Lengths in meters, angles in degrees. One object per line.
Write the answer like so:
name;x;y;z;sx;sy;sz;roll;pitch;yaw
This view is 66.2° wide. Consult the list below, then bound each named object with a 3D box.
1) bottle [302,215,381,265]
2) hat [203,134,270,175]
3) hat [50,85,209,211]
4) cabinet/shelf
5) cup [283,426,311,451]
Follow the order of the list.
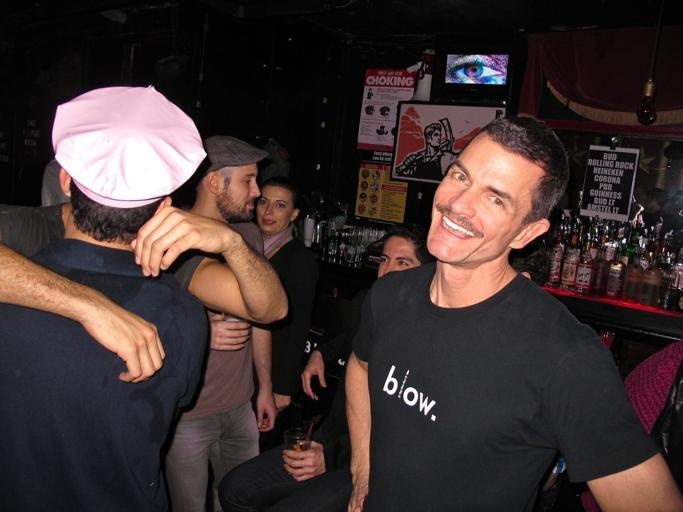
bottle;0.041;-0.130;5.334;0.484;0.197;0.662;-8;15;-32
hat;-0.622;-0.596;3.049;0.317;0.124;0.222;-9;17;-29
hat;-0.694;-0.359;1.731;0.468;0.378;0.262;0;18;-22
cabinet/shelf;-0.140;0.389;5.105;0.378;0.635;0.697;0;-1;-9
cup;-0.241;0.994;2.903;0.122;0.142;0.154;4;10;8
